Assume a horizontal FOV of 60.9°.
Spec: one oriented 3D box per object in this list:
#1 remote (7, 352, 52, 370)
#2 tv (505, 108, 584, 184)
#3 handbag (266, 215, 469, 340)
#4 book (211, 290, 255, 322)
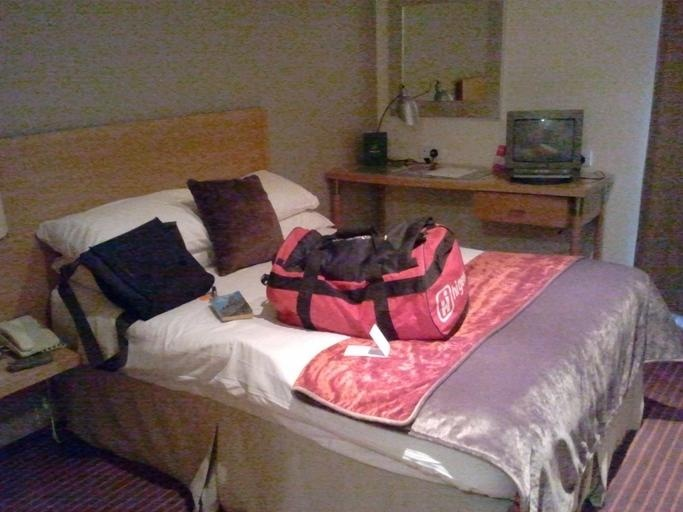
[{"bbox_3d":[-0.742,0.250,1.391,0.075,0.013,0.038,-12,20,-38],"label":"remote"},{"bbox_3d":[0.869,-0.466,2.487,0.477,0.298,0.223,3,21,19],"label":"tv"},{"bbox_3d":[0.104,0.053,1.497,0.534,0.194,0.312,3,10,18],"label":"handbag"},{"bbox_3d":[-0.290,0.132,1.564,0.095,0.017,0.110,-5,22,-26],"label":"book"}]
